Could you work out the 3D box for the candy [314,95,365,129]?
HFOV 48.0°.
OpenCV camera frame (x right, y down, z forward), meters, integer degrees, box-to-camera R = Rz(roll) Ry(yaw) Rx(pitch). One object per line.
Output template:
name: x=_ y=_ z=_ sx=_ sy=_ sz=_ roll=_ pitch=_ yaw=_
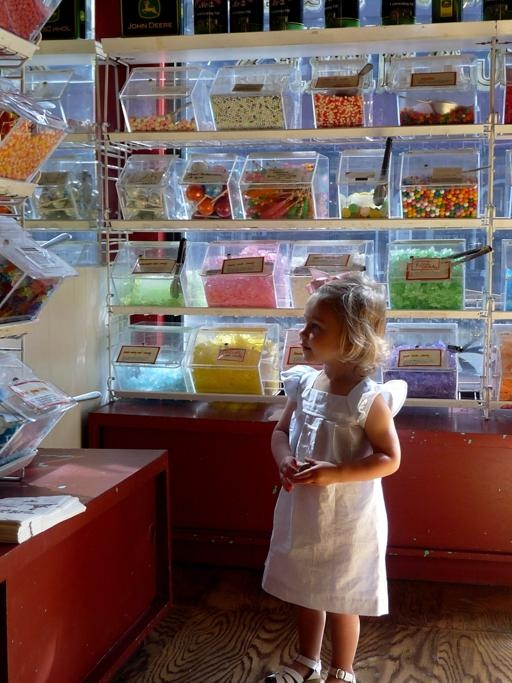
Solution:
candy: x=0.330 y=-0.900 z=2.329 sx=0.206 sy=0.145 sz=0.167 roll=1 pitch=15 yaw=8
